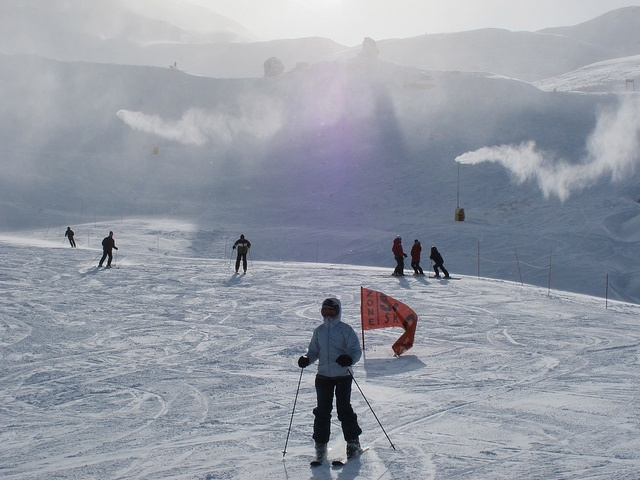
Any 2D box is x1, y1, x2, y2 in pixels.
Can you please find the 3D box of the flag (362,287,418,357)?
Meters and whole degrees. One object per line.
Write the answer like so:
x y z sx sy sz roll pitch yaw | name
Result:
2.733 3.394 33.519 3.043 3.401 0.631 2 -26 -4 | flag

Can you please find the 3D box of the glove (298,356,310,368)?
-0.548 3.857 26.837 0.407 0.345 0.352 5 23 13 | glove

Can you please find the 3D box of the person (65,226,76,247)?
-15.169 -0.094 51.109 0.509 1.378 2.848 0 10 -17 | person
